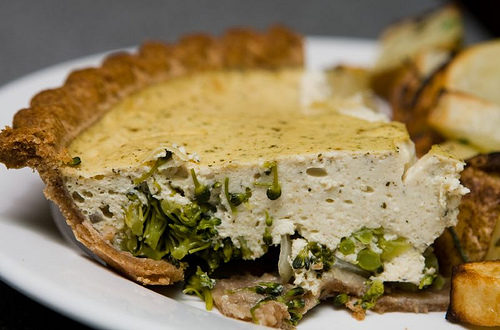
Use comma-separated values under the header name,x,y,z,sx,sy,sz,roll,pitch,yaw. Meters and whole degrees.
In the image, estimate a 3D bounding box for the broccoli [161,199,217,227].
name,x,y,z,sx,sy,sz,roll,pitch,yaw
broccoli,-0.309,0.220,3.240,0.175,0.127,0.071,9,99,-5

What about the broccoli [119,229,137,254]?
name,x,y,z,sx,sy,sz,roll,pitch,yaw
broccoli,-0.596,0.373,3.299,0.088,0.046,0.106,-10,86,-1

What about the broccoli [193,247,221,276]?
name,x,y,z,sx,sy,sz,roll,pitch,yaw
broccoli,-0.209,0.467,3.348,0.096,0.035,0.145,-17,63,-34

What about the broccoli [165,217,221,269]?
name,x,y,z,sx,sy,sz,roll,pitch,yaw
broccoli,-0.290,0.339,3.316,0.257,0.082,0.248,8,106,-12

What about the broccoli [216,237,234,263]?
name,x,y,z,sx,sy,sz,roll,pitch,yaw
broccoli,-0.108,0.411,3.312,0.075,0.028,0.118,-5,108,-5

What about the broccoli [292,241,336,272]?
name,x,y,z,sx,sy,sz,roll,pitch,yaw
broccoli,0.323,0.434,3.287,0.171,0.050,0.160,-13,54,-11

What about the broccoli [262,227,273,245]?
name,x,y,z,sx,sy,sz,roll,pitch,yaw
broccoli,0.086,0.343,3.279,0.046,0.043,0.079,-2,69,7

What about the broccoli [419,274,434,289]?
name,x,y,z,sx,sy,sz,roll,pitch,yaw
broccoli,0.869,0.564,3.332,0.049,0.028,0.072,15,44,22

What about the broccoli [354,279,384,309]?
name,x,y,z,sx,sy,sz,roll,pitch,yaw
broccoli,0.585,0.628,3.347,0.101,0.058,0.158,31,104,4

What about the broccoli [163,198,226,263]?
name,x,y,z,sx,sy,sz,roll,pitch,yaw
broccoli,-0.310,0.275,3.292,0.310,0.109,0.343,-3,29,-35

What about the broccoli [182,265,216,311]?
name,x,y,z,sx,sy,sz,roll,pitch,yaw
broccoli,-0.244,0.604,3.346,0.225,0.200,0.067,-36,80,15

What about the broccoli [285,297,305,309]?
name,x,y,z,sx,sy,sz,roll,pitch,yaw
broccoli,0.217,0.659,3.242,0.079,0.032,0.040,-5,77,-7

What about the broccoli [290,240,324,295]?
name,x,y,z,sx,sy,sz,roll,pitch,yaw
broccoli,0.280,0.477,3.276,0.160,0.060,0.256,-21,105,2

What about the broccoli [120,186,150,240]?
name,x,y,z,sx,sy,sz,roll,pitch,yaw
broccoli,-0.533,0.214,3.337,0.116,0.325,0.174,-15,60,0

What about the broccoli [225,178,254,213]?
name,x,y,z,sx,sy,sz,roll,pitch,yaw
broccoli,-0.081,0.135,3.263,0.160,0.049,0.152,-4,39,-31

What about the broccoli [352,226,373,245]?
name,x,y,z,sx,sy,sz,roll,pitch,yaw
broccoli,0.547,0.338,3.248,0.091,0.024,0.083,-27,82,5
